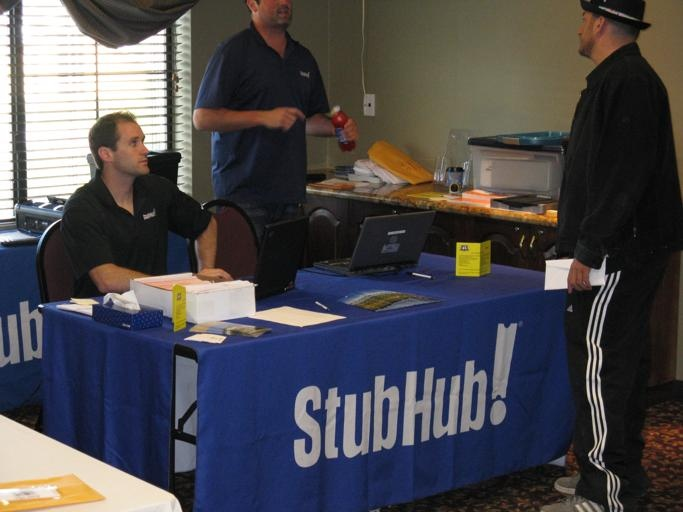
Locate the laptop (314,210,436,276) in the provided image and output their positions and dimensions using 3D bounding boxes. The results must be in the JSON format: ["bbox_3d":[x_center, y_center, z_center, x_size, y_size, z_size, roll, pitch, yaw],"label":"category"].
[{"bbox_3d":[0.166,-0.072,3.043,0.405,0.231,0.414,-2,5,-8],"label":"laptop"}]

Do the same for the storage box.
[{"bbox_3d":[1.029,-0.561,4.335,0.677,0.338,0.701,-3,12,-31],"label":"storage box"}]

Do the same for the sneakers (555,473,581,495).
[{"bbox_3d":[0.946,0.950,2.900,0.150,0.062,0.059,2,-1,-39],"label":"sneakers"}]

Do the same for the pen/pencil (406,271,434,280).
[{"bbox_3d":[0.335,0.086,3.020,0.101,0.019,0.018,9,3,35],"label":"pen/pencil"}]
